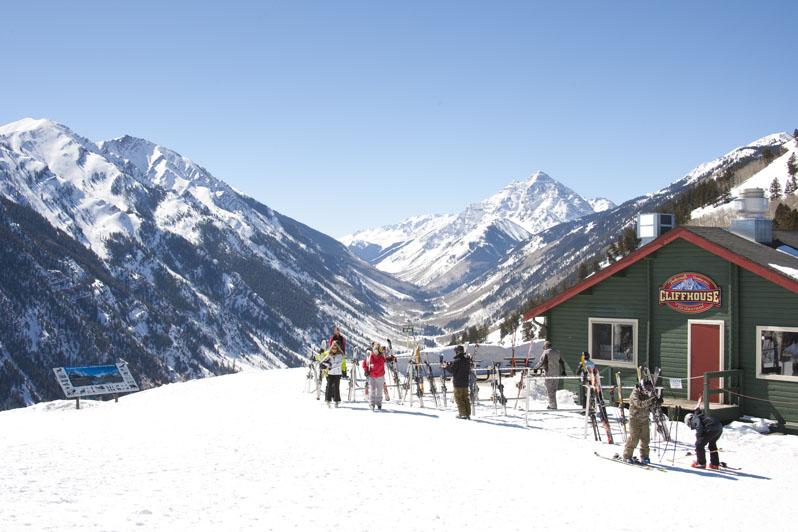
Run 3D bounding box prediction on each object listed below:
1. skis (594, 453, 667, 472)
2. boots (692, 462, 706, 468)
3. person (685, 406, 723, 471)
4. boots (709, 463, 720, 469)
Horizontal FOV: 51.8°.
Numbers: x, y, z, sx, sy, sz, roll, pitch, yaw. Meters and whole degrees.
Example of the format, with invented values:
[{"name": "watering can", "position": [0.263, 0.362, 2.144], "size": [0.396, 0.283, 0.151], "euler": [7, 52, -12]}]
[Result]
[{"name": "skis", "position": [8.950, 7.723, 32.211], "size": [2.116, 0.236, 0.267], "euler": [9, 17, 33]}, {"name": "boots", "position": [11.555, 7.759, 31.990], "size": [0.500, 0.264, 0.185], "euler": [0, 0, -8]}, {"name": "person", "position": [11.909, 6.755, 32.119], "size": [1.133, 2.335, 0.692], "euler": [-4, -9, 18]}, {"name": "boots", "position": [12.176, 7.810, 31.933], "size": [0.377, 0.225, 0.175], "euler": [-1, -8, -3]}]
